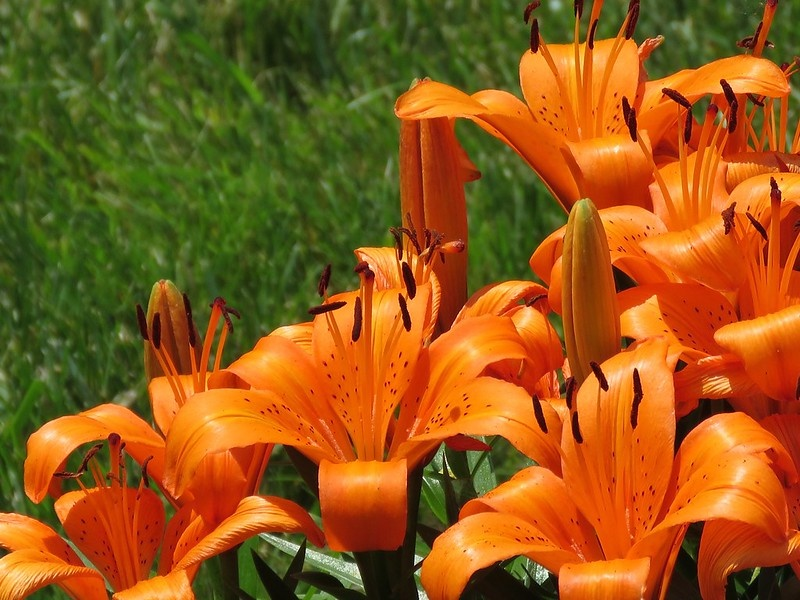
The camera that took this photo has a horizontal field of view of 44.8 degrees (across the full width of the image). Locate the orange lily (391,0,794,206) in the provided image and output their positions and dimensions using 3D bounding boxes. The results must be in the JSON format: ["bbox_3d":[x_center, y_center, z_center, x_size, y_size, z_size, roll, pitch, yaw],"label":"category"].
[{"bbox_3d":[0.199,-0.195,1.022,0.261,0.208,0.285,-17,16,-16],"label":"orange lily"}]

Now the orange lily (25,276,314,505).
[{"bbox_3d":[-0.234,0.100,1.095,0.341,0.256,0.420,0,3,-15],"label":"orange lily"}]

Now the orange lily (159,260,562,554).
[{"bbox_3d":[-0.048,0.102,0.927,0.284,0.164,0.285,-28,39,-30],"label":"orange lily"}]
